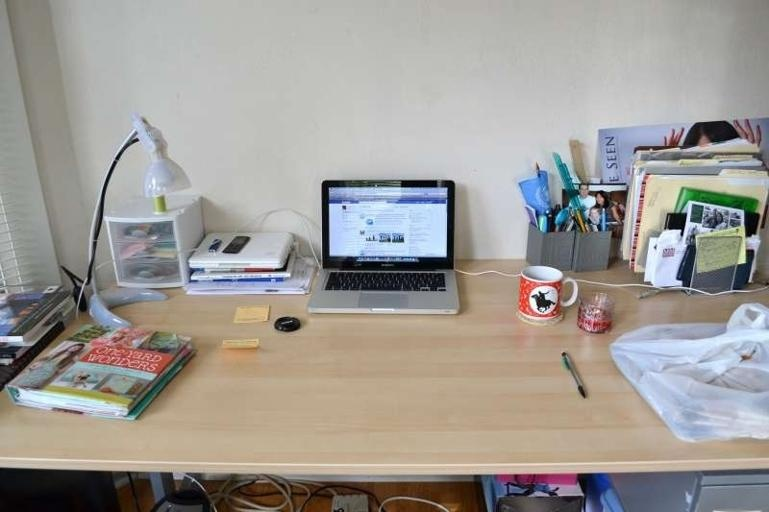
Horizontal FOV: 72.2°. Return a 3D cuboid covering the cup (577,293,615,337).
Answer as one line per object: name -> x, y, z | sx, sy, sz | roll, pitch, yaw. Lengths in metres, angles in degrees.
cup -> 0.609, 0.168, 1.555 | 0.111, 0.091, 0.113 | -1, 17, 0

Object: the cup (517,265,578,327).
cup -> 0.468, 0.119, 1.616 | 0.214, 0.138, 0.148 | 1, 21, 4
